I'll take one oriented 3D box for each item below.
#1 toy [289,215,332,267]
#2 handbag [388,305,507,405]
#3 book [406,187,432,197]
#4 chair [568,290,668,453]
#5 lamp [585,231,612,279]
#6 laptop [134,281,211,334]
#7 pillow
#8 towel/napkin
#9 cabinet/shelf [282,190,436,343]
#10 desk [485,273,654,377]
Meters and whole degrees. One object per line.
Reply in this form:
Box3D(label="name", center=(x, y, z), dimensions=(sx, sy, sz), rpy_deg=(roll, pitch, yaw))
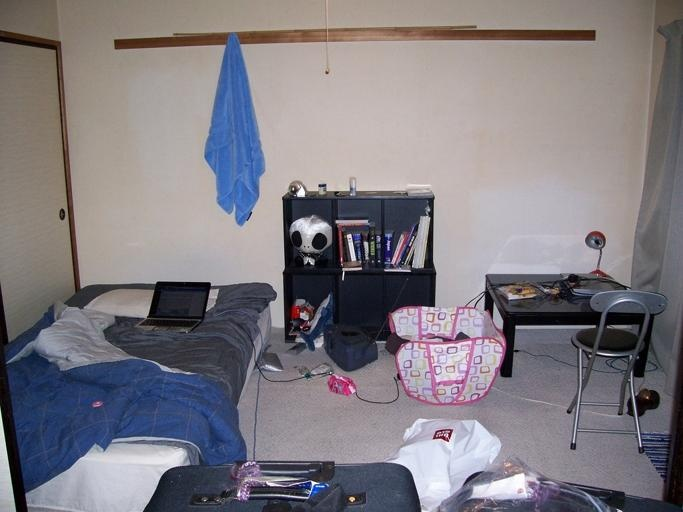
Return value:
Box3D(label="toy", center=(-0.256, -0.159, 4.695), dimensions=(0.351, 0.403, 0.352), rpy_deg=(16, 23, 33))
Box3D(label="handbag", center=(0.741, 0.657, 3.890), dimensions=(0.722, 0.466, 0.626), rpy_deg=(0, 11, 4))
Box3D(label="book", center=(0.642, -0.537, 4.561), dimensions=(0.203, 0.046, 0.197), rpy_deg=(4, 16, 9))
Box3D(label="chair", center=(1.751, 0.640, 3.572), dimensions=(0.498, 0.981, 1.281), rpy_deg=(9, 17, 26))
Box3D(label="lamp", center=(2.099, -0.016, 4.499), dimensions=(0.204, 0.414, 0.506), rpy_deg=(9, 17, 25))
Box3D(label="laptop", center=(-1.279, 0.389, 4.220), dimensions=(0.395, 0.248, 0.351), rpy_deg=(1, 11, 5))
Box3D(label="pillow", center=(-1.655, 0.375, 4.329), dimensions=(0.642, 0.113, 0.399), rpy_deg=(5, 21, -4))
Box3D(label="towel/napkin", center=(-0.893, -1.022, 4.544), dimensions=(0.470, 1.546, 0.198), rpy_deg=(-3, 16, -15))
Box3D(label="cabinet/shelf", center=(0.170, 0.051, 4.625), dimensions=(1.164, 1.183, 0.424), rpy_deg=(0, 8, 0))
Box3D(label="desk", center=(1.616, 0.375, 4.059), dimensions=(0.865, 0.451, 0.900), rpy_deg=(2, 14, 6))
